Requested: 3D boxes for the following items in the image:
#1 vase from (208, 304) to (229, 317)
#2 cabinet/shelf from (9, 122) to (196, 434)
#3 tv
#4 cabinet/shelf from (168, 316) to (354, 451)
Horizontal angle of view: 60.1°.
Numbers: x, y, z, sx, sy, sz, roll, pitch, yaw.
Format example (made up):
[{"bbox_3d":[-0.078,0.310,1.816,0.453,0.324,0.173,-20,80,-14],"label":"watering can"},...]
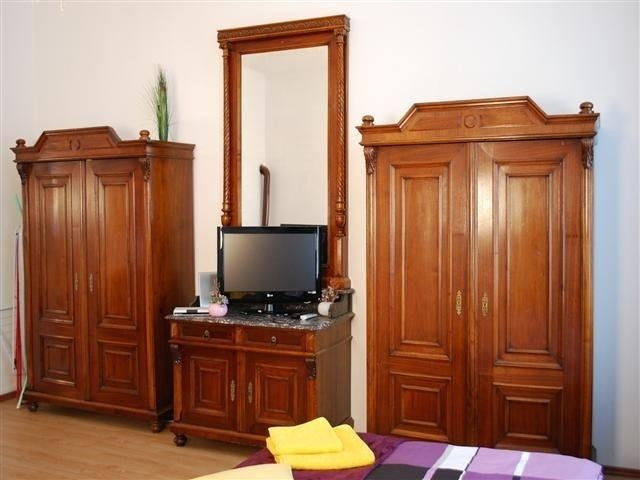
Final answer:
[{"bbox_3d":[-0.811,0.551,4.366,0.104,0.074,0.107,1,-7,-1],"label":"vase"},{"bbox_3d":[-1.957,0.295,4.985,1.540,2.562,0.474,2,4,17],"label":"cabinet/shelf"},{"bbox_3d":[-0.391,0.222,4.401,0.681,0.600,0.191,0,-2,8],"label":"tv"},{"bbox_3d":[-0.478,1.108,4.536,1.372,1.006,0.812,0,2,28],"label":"cabinet/shelf"}]
